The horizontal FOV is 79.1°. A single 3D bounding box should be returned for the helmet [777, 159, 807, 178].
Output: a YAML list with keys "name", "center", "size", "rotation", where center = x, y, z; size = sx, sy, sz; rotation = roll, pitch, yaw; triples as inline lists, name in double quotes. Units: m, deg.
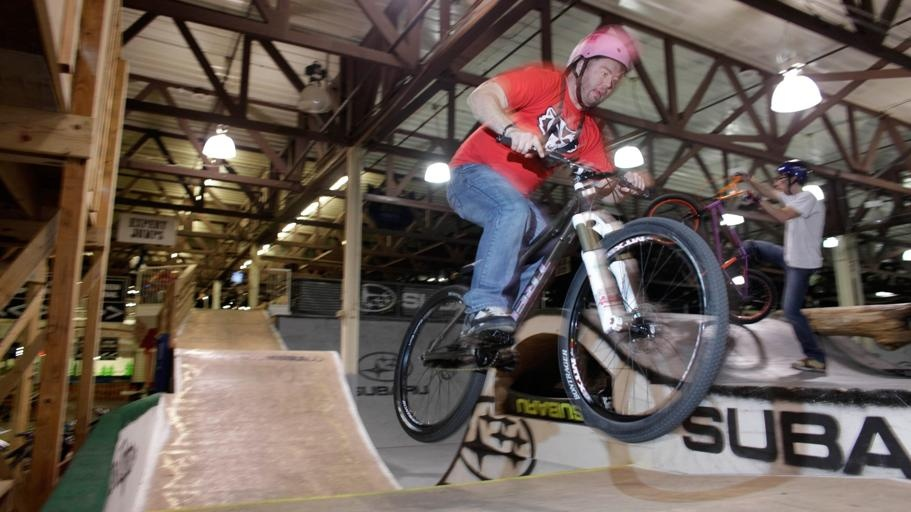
- name: "helmet"
  center: [4.196, -1.084, 6.891]
  size: [0.326, 0.248, 0.239]
  rotation: [21, 8, 34]

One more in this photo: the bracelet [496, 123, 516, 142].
- name: "bracelet"
  center: [0.475, -1.137, 5.155]
  size: [0.152, 0.196, 0.074]
  rotation: [-1, 3, 5]

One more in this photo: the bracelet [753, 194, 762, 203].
- name: "bracelet"
  center: [3.560, -0.678, 6.517]
  size: [0.087, 0.063, 0.066]
  rotation: [25, 25, -7]

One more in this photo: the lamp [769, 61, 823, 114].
- name: "lamp"
  center: [4.058, -2.029, 6.585]
  size: [0.477, 0.558, 0.369]
  rotation: [0, 3, 25]
